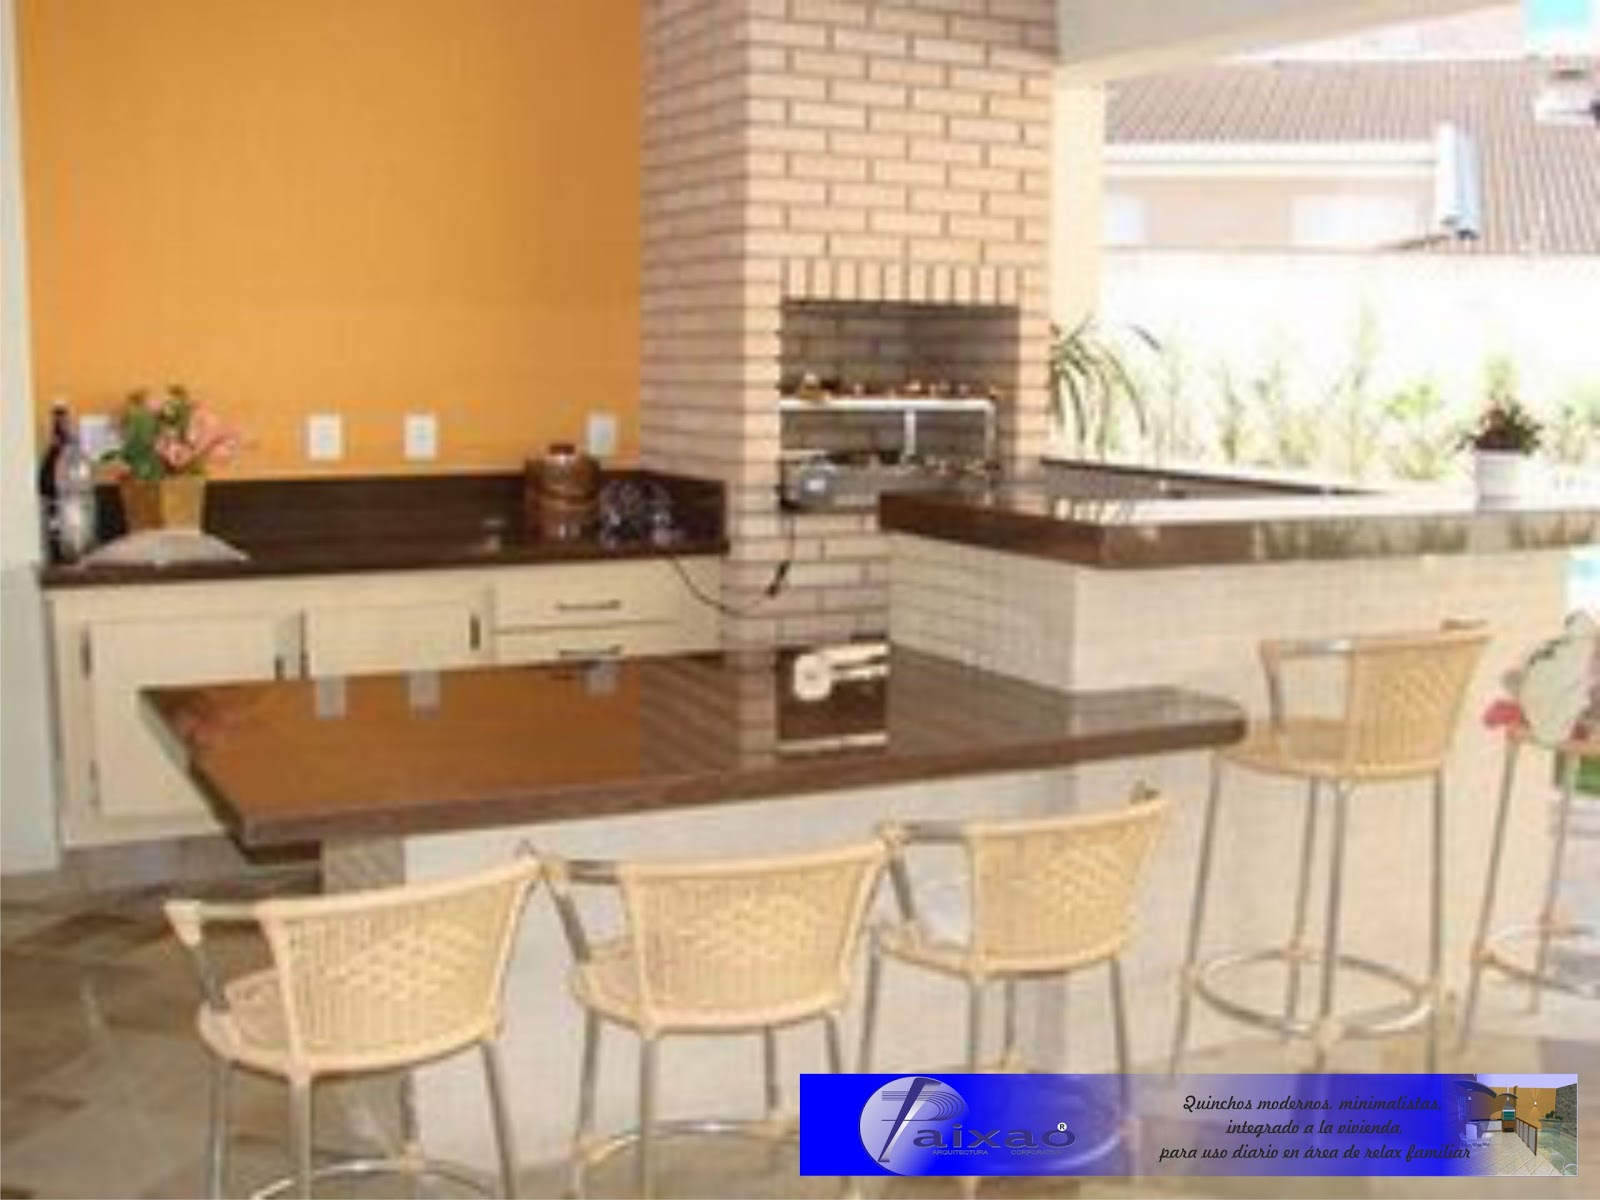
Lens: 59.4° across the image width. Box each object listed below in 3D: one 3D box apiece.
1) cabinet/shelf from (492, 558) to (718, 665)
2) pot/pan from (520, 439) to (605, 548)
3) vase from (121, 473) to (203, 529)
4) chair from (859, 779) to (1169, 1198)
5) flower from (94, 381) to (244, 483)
[{"bbox_3d":[-0.669,0.035,4.743,0.531,0.246,0.399,0,1,-26],"label":"cabinet/shelf"},{"bbox_3d":[-0.822,-0.358,4.964,0.293,0.340,0.297,0,10,-3],"label":"pot/pan"},{"bbox_3d":[-2.049,-0.312,4.538,0.206,0.130,0.187,1,-1,-8],"label":"vase"},{"bbox_3d":[0.422,0.762,2.689,0.606,0.868,0.401,-2,11,-8],"label":"chair"},{"bbox_3d":[-2.112,-0.555,4.683,0.413,0.320,0.492,-6,13,-26],"label":"flower"}]
